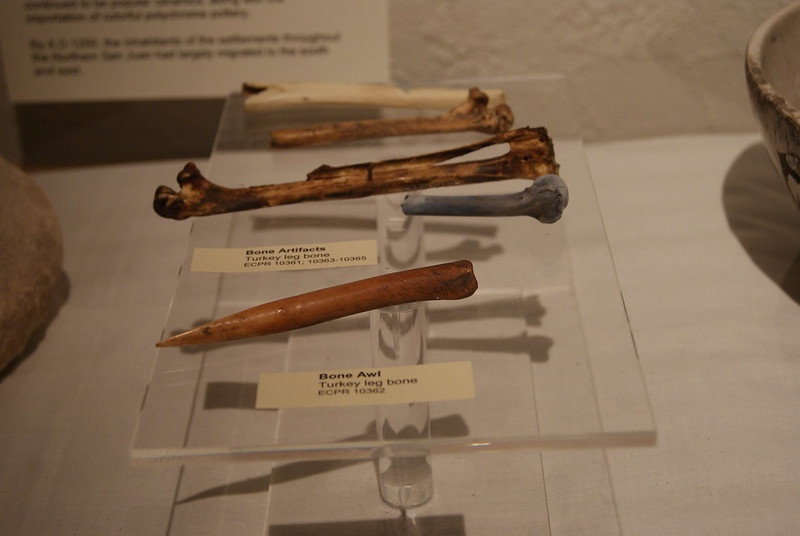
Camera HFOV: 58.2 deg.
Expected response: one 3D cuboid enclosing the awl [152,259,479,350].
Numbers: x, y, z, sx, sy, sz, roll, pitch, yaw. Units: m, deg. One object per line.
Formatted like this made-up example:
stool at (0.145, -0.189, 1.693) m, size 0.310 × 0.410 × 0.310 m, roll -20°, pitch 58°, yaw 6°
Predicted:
awl at (-0.144, 0.074, 1.400) m, size 0.481 × 0.060 × 0.077 m, roll -11°, pitch 48°, yaw -5°
